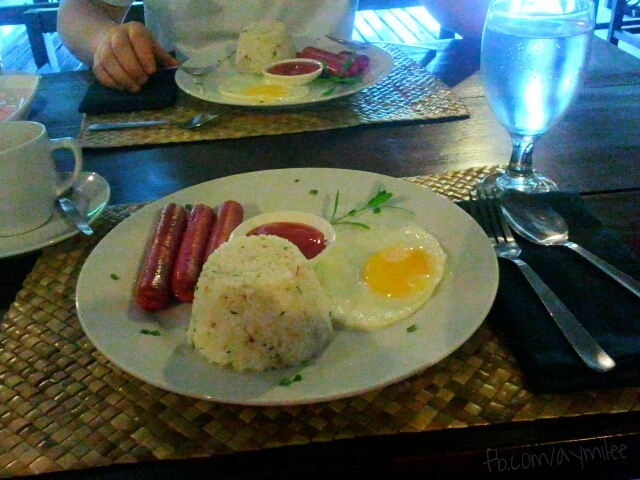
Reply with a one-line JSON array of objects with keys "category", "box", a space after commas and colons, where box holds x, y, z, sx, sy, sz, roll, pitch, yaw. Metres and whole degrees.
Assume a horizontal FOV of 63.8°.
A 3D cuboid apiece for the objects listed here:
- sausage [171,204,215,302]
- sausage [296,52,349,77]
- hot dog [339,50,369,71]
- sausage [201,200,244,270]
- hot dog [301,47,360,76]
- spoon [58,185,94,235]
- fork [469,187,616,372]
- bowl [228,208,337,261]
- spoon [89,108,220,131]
[{"category": "sausage", "box": [-0.418, 0.020, 1.707, 0.106, 0.081, 0.328, -4, 49, 6]}, {"category": "sausage", "box": [0.019, -0.982, 2.898, 0.409, 0.080, 0.095, 24, 59, 26]}, {"category": "hot dog", "box": [0.176, -1.049, 2.998, 0.118, 0.068, 0.211, -10, 36, -37]}, {"category": "sausage", "box": [-0.331, -0.047, 1.773, 0.075, 0.056, 0.254, 9, 40, 20]}, {"category": "hot dog", "box": [0.019, -1.037, 2.999, 0.560, 0.103, 0.136, 21, 40, 28]}, {"category": "spoon", "box": [-0.927, -0.105, 1.934, 0.049, 0.031, 0.322, -27, 49, -31]}, {"category": "fork", "box": [0.625, 0.124, 1.545, 0.116, 0.088, 0.657, -19, 36, -6]}, {"category": "bowl", "box": [-0.114, -0.018, 1.851, 0.310, 0.056, 0.287, 3, 26, -2]}, {"category": "spoon", "box": [-0.864, -0.615, 2.643, 0.739, 0.078, 0.117, -3, 33, -5]}]
